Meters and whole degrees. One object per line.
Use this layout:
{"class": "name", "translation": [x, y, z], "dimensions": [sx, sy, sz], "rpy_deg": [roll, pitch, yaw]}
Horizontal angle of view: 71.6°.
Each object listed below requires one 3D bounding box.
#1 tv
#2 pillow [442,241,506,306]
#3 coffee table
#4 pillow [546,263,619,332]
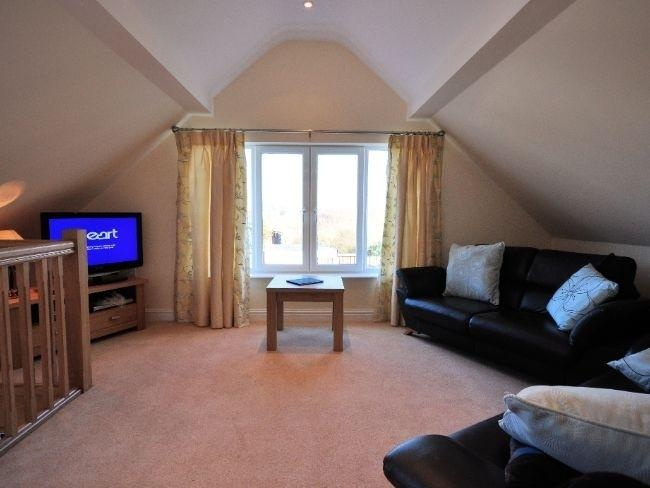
{"class": "tv", "translation": [-2.271, 0.040, 4.481], "dimensions": [0.912, 0.730, 0.243], "rpy_deg": [-3, -15, -32]}
{"class": "pillow", "translation": [1.436, 0.305, 4.320], "dimensions": [0.185, 0.536, 0.515], "rpy_deg": [28, -19, -38]}
{"class": "coffee table", "translation": [-0.183, 0.644, 4.427], "dimensions": [0.722, 0.617, 0.654], "rpy_deg": [0, 6, 1]}
{"class": "pillow", "translation": [1.993, 0.413, 3.505], "dimensions": [0.414, 0.459, 0.404], "rpy_deg": [2, 7, 19]}
